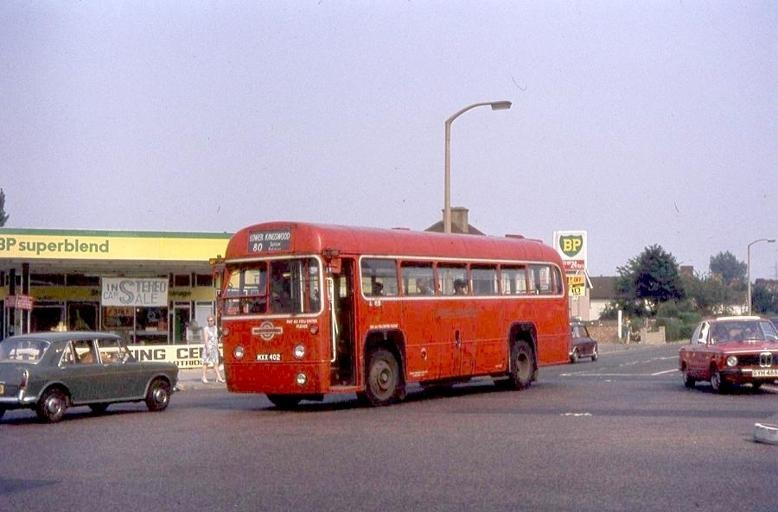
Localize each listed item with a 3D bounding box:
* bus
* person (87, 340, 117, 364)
[{"bbox_3d":[1.030,1.720,23.734,3.140,4.756,12.787,-3,-5,44],"label":"bus"},{"bbox_3d":[-7.120,2.378,19.632,0.427,0.741,0.788,-10,-11,25],"label":"person"}]
